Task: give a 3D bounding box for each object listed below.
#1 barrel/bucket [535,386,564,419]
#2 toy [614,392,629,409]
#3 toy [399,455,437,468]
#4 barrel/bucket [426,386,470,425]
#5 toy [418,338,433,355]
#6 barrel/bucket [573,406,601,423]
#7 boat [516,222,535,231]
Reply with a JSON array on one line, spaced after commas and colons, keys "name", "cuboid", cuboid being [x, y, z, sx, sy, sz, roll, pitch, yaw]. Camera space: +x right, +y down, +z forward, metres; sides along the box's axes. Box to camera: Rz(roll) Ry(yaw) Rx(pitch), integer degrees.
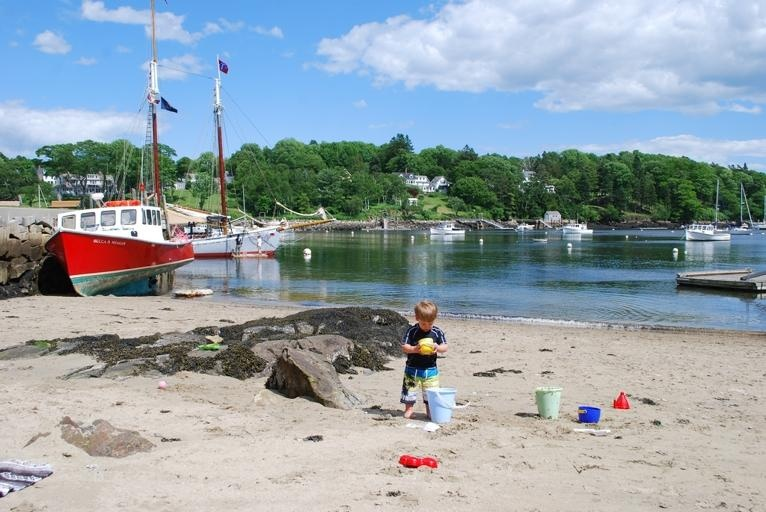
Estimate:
[{"name": "barrel/bucket", "cuboid": [3.566, 3.123, 14.853, 0.698, 0.513, 0.661, -1, -2, 0]}, {"name": "toy", "cuboid": [5.357, 3.249, 15.486, 0.377, 0.392, 0.415, -1, 1, 7]}, {"name": "toy", "cuboid": [0.685, 3.803, 12.749, 0.454, 0.101, 0.280, 1, -6, 7]}, {"name": "barrel/bucket", "cuboid": [1.320, 3.102, 14.340, 0.820, 0.482, 0.750, 1, -10, 0]}, {"name": "toy", "cuboid": [0.894, 1.838, 14.021, 0.298, 0.258, 0.343, 5, -3, 3]}, {"name": "barrel/bucket", "cuboid": [4.390, 3.314, 14.555, 0.530, 0.307, 0.403, 3, 9, 3]}, {"name": "boat", "cuboid": [31.026, -6.232, 150.425, 3.235, 1.506, 4.596, 5, 8, 25]}]
